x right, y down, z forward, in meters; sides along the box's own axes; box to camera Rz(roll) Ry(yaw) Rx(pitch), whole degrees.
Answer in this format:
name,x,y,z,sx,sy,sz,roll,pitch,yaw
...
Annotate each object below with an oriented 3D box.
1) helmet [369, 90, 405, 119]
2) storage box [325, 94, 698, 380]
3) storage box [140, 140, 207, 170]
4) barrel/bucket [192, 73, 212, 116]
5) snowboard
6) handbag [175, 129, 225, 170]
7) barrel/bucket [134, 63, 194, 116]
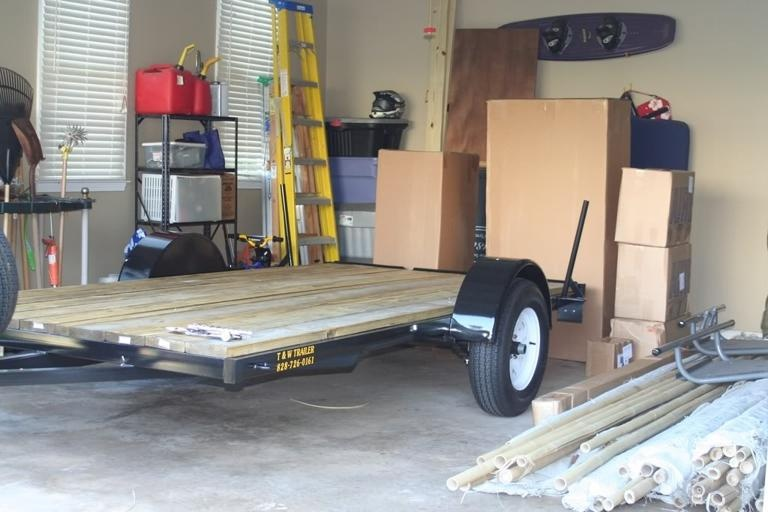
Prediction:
name,x,y,z,sx,sy,sz,roll,pitch,yaw
helmet,0.035,-1.563,7.041,0.376,0.282,0.305,11,-4,-33
storage box,1.005,-0.143,4.578,2.616,2.075,0.815,3,3,20
storage box,-1.864,-0.896,5.886,0.564,0.243,0.504,-1,10,-16
barrel/bucket,-1.615,-1.427,5.930,0.159,0.347,0.271,-1,10,-15
snowboard,1.843,-2.067,6.247,1.540,0.388,0.410,3,13,34
handbag,-1.685,-0.942,6.173,0.443,0.307,0.340,4,-2,4
barrel/bucket,-1.880,-1.448,5.791,0.507,0.387,0.464,2,10,0
